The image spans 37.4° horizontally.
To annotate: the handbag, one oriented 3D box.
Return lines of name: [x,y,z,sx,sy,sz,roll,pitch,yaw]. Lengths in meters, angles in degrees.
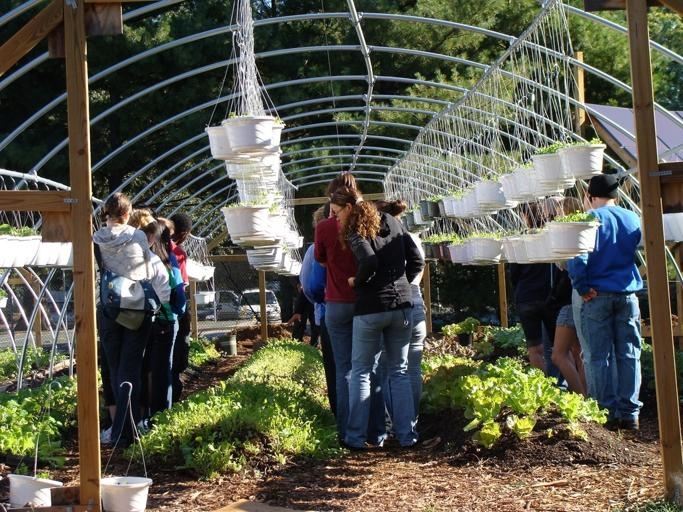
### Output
handbag: [-2.113,0.421,9.874,0.503,0.554,0.302,7,-23,-30]

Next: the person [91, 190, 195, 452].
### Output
person: [-2.094,0.608,10.016,0.711,2.417,1.172,-7,-9,13]

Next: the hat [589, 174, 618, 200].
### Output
hat: [2.623,-0.675,10.100,0.213,0.247,0.311,-4,-20,-10]

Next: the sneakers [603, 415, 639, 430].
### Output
sneakers: [2.717,1.624,9.887,0.360,0.163,0.126,-6,-7,16]

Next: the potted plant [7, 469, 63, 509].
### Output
potted plant: [-2.555,1.924,8.307,0.308,0.243,0.312,3,-3,-8]

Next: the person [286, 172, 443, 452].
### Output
person: [0.319,0.513,9.875,1.003,2.686,0.825,4,-13,-43]

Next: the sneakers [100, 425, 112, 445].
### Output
sneakers: [-2.374,1.806,10.162,0.116,0.148,0.157,-7,-24,12]

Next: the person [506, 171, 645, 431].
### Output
person: [2.645,0.441,9.944,0.745,2.512,0.463,-1,-10,-21]
